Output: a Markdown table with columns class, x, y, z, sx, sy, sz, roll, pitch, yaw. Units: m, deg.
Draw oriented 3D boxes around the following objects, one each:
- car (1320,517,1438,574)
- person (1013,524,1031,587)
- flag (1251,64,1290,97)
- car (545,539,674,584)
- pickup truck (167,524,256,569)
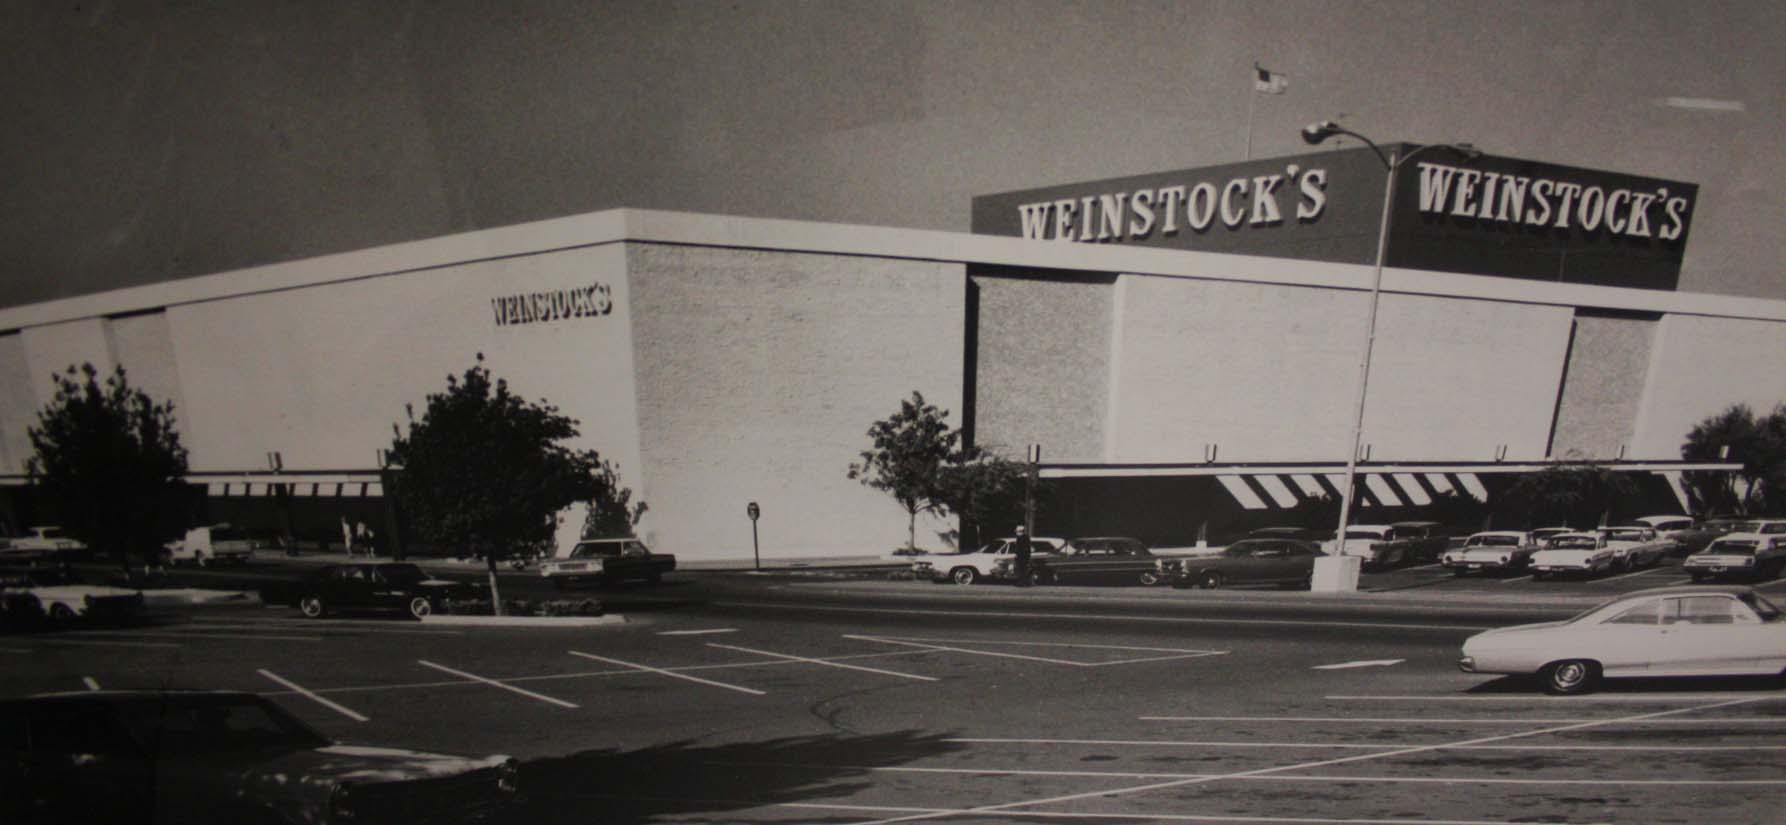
| class | x | y | z | sx | sy | sz | roll | pitch | yaw |
| --- | --- | --- | --- | --- | --- | --- | --- | --- | --- |
| car | 17.336 | 4.559 | 69.572 | 3.496 | 0.886 | 1.911 | -3 | 3 | -40 |
| person | 4.499 | 5.002 | 68.882 | 0.610 | 1.662 | 0.536 | 1 | -3 | 1 |
| flag | 12.053 | -10.706 | 64.320 | 0.811 | 0.928 | 1.461 | -1 | -3 | 28 |
| car | -9.627 | 5.049 | 68.860 | 2.097 | 0.906 | 3.259 | -5 | -8 | 31 |
| pickup truck | -22.079 | 4.258 | 64.549 | 2.487 | 0.954 | 1.126 | 4 | -6 | -42 |
